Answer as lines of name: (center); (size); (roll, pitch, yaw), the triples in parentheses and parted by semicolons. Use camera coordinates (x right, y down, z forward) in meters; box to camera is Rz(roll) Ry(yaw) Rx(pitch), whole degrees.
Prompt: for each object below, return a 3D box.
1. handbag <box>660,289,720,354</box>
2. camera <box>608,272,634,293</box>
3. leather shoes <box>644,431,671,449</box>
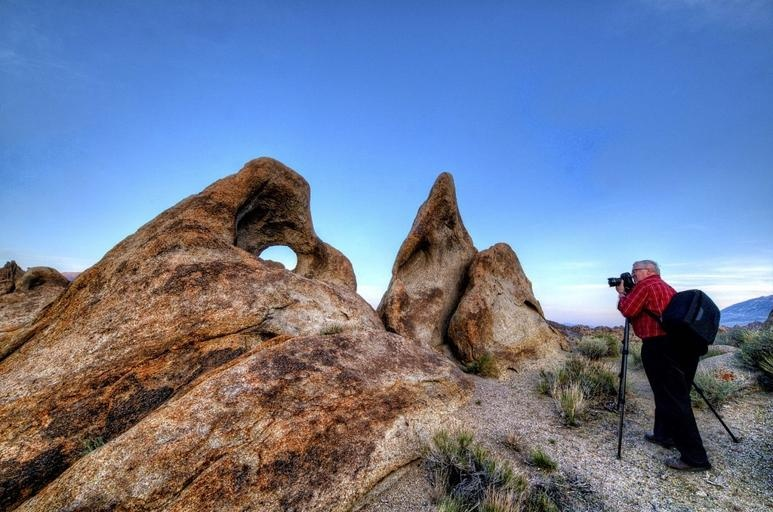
handbag: (6.713, 1.442, 8.752); (1.084, 1.390, 0.373); (-7, -11, 14)
camera: (5.247, 0.581, 8.781); (0.607, 0.370, 0.575); (3, -10, -21)
leather shoes: (6.475, 4.337, 9.507); (0.187, 0.238, 0.518); (1, 11, -31)
